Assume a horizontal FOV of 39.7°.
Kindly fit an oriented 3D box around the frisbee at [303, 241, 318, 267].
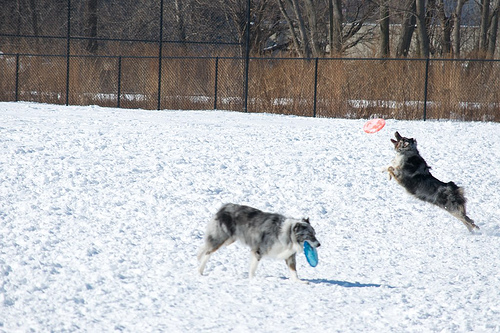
[{"bbox_3d":[1.359,1.952,15.420,0.108,0.539,0.344,-1,12,31],"label":"frisbee"}]
